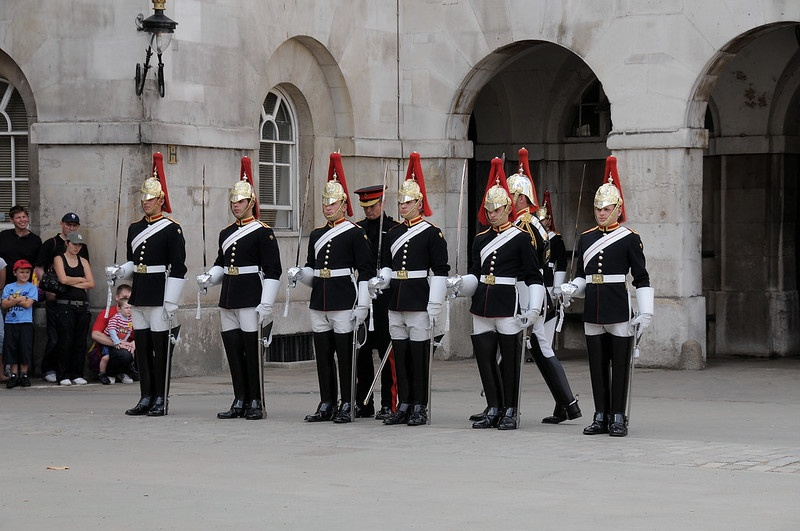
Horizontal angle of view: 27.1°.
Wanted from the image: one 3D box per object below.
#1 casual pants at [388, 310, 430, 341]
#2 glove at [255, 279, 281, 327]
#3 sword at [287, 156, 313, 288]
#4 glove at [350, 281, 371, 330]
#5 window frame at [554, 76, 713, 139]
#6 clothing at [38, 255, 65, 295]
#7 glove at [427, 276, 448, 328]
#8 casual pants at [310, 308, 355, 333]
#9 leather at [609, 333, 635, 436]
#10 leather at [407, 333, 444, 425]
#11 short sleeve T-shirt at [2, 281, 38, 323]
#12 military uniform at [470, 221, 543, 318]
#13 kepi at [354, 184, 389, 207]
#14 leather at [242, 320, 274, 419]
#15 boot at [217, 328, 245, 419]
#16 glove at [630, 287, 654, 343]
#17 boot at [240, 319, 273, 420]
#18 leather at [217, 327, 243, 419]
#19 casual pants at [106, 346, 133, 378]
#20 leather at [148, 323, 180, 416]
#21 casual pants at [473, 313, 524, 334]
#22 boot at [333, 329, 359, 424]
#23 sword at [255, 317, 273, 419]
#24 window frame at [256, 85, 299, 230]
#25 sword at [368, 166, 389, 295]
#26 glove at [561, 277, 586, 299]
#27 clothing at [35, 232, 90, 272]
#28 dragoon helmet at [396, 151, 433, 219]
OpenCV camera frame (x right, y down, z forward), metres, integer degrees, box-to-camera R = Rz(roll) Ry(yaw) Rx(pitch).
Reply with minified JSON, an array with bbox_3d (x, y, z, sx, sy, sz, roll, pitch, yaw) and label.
[{"bbox_3d":[0.077,0.585,17.716,0.510,0.442,0.305,-1,-2,38],"label":"casual pants"},{"bbox_3d":[-1.458,0.377,17.790,0.228,0.506,0.188,10,7,-20],"label":"glove"},{"bbox_3d":[-1.305,-0.581,21.292,0.141,1.783,0.201,12,7,-5],"label":"sword"},{"bbox_3d":[-0.405,0.391,17.674,0.191,0.475,0.395,-1,-3,-17],"label":"glove"},{"bbox_3d":[3.228,-2.180,22.809,1.324,0.864,0.136,-1,-8,12],"label":"window frame"},{"bbox_3d":[-4.219,0.115,20.238,0.294,0.348,0.204,22,22,8],"label":"clothing"},{"bbox_3d":[0.385,0.358,17.533,0.222,0.530,0.392,-2,-3,1],"label":"glove"},{"bbox_3d":[-0.739,0.580,17.759,0.424,0.289,0.250,-2,-7,31],"label":"casual pants"},{"bbox_3d":[2.256,1.208,17.017,0.270,1.007,0.140,-2,-3,6],"label":"leather"},{"bbox_3d":[0.207,1.205,17.608,0.290,0.903,0.223,-2,-3,10],"label":"leather"},{"bbox_3d":[-4.617,0.421,20.091,0.488,0.534,0.312,1,-12,-14],"label":"short sleeve T-shirt"},{"bbox_3d":[1.105,0.059,17.389,1.009,0.925,0.451,-1,-11,24],"label":"military uniform"},{"bbox_3d":[-0.279,-0.823,18.223,0.277,0.137,0.292,-6,20,28],"label":"kepi"},{"bbox_3d":[-1.546,1.064,17.847,0.308,1.099,0.391,4,-5,3],"label":"leather"},{"bbox_3d":[-1.843,1.144,17.986,0.395,0.967,0.293,-2,0,-39],"label":"boot"},{"bbox_3d":[2.496,0.463,17.199,0.210,0.522,0.641,-2,-3,10],"label":"glove"},{"bbox_3d":[-1.517,1.045,17.923,0.460,1.152,0.269,5,-9,-37],"label":"boot"},{"bbox_3d":[-1.815,1.144,17.989,0.372,0.973,0.292,-3,4,-36],"label":"leather"},{"bbox_3d":[-3.426,1.184,20.419,0.266,0.416,0.136,4,40,-13],"label":"casual pants"},{"bbox_3d":[-2.581,1.117,18.119,0.328,0.953,0.281,-1,-3,-8],"label":"leather"},{"bbox_3d":[1.005,0.590,17.398,0.383,0.203,0.228,1,-2,2],"label":"casual pants"},{"bbox_3d":[-0.600,1.171,17.800,0.246,0.968,0.276,-1,-3,-2],"label":"boot"},{"bbox_3d":[-1.453,1.070,17.976,0.040,1.051,0.286,2,5,31],"label":"sword"},{"bbox_3d":[-1.694,-1.457,22.593,0.831,1.812,0.160,3,3,39],"label":"window frame"},{"bbox_3d":[-0.266,-0.453,18.325,0.325,1.328,0.146,12,-14,-43],"label":"sword"},{"bbox_3d":[1.782,0.240,17.259,0.183,0.108,0.242,18,39,34],"label":"glove"},{"bbox_3d":[-4.146,-0.162,20.381,0.436,0.374,0.204,7,16,-4],"label":"clothing"},{"bbox_3d":[0.145,-0.886,17.837,0.412,0.682,0.339,-10,21,-34],"label":"dragoon helmet"}]
